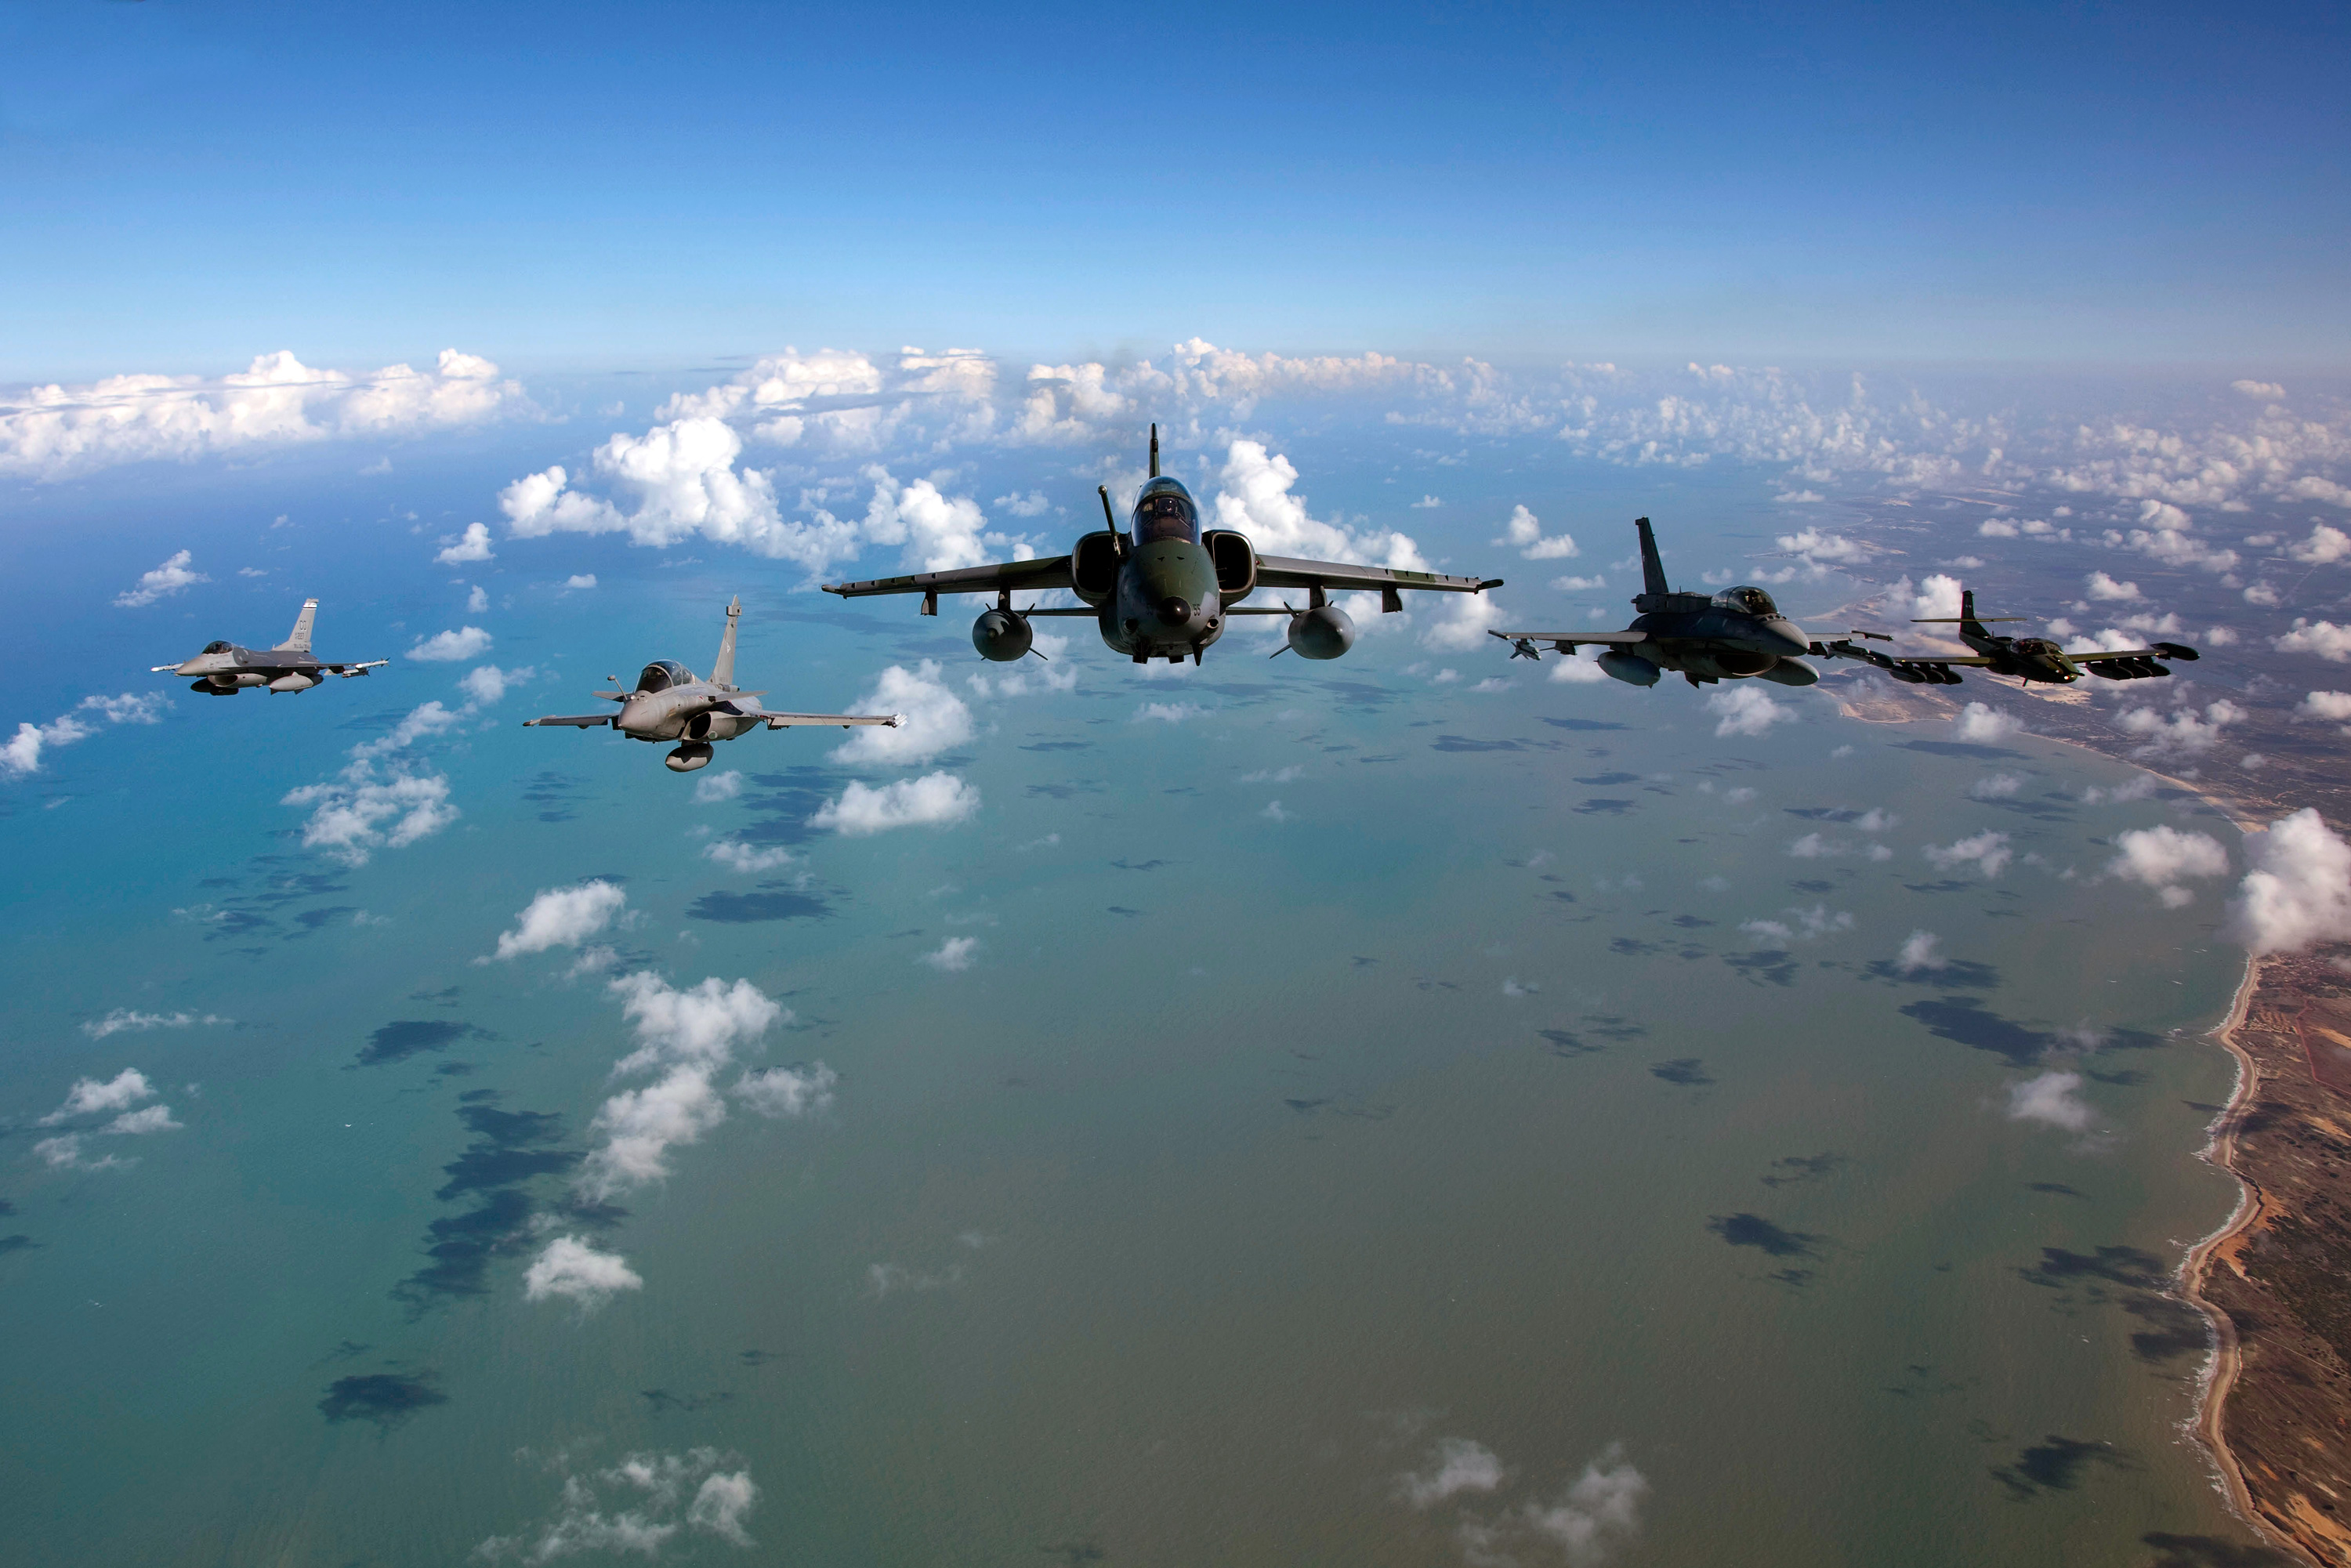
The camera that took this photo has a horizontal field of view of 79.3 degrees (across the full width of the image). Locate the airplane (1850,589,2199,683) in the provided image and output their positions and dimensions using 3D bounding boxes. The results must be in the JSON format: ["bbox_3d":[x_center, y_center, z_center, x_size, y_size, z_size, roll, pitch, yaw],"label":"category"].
[{"bbox_3d":[129.323,-22.570,213.243,22.945,14.802,59.374,18,43,19],"label":"airplane"}]

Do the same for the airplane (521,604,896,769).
[{"bbox_3d":[-39.533,-7.946,115.217,30.384,13.241,26.233,0,3,0],"label":"airplane"}]
